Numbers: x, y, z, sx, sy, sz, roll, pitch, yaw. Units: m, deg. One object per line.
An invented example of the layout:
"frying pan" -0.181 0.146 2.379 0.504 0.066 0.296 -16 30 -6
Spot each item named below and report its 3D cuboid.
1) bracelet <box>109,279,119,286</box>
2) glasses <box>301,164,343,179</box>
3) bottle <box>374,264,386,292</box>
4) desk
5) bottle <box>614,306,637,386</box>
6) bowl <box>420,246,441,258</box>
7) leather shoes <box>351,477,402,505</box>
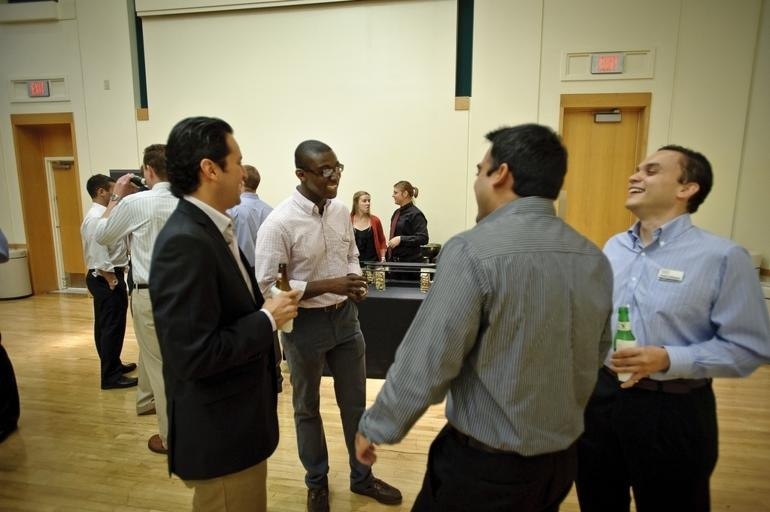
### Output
"bracelet" -2.576 0.244 5.021 0.064 0.082 0.040 -26 27 -31
"glasses" -0.421 -0.576 3.589 0.244 0.083 0.096 -3 7 -22
"bottle" -0.043 0.213 4.960 0.129 0.229 0.051 -2 -10 34
"desk" 0.101 0.680 5.044 0.693 0.697 0.703 -1 14 1
"bottle" 1.396 0.510 3.083 0.122 0.440 0.258 3 8 25
"bowl" 0.466 -0.059 5.387 0.149 0.095 0.154 -2 5 0
"leather shoes" -0.056 1.684 3.867 0.365 0.149 0.161 5 8 13
